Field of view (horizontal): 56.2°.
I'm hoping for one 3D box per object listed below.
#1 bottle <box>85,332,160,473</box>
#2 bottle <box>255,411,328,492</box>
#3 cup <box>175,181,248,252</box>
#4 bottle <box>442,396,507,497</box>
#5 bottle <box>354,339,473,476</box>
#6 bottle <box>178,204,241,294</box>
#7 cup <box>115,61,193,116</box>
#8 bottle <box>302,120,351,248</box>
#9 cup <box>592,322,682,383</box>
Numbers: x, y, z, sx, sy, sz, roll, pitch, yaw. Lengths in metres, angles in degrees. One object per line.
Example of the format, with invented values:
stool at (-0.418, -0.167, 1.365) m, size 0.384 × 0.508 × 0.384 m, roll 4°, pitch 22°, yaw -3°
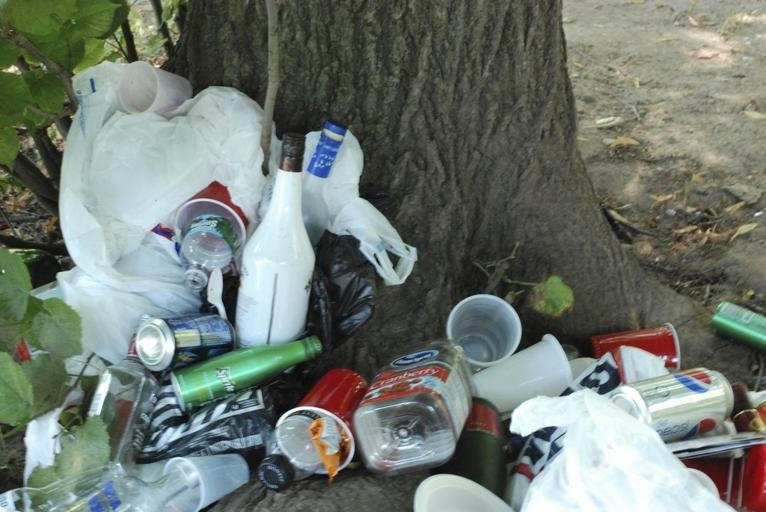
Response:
bottle at (-0.888, 0.519, 2.474) m, size 0.151 × 0.132 × 0.500 m, roll 3°, pitch 36°, yaw -3°
bottle at (-0.309, 0.665, 2.405) m, size 0.210 × 0.232 × 0.185 m, roll 0°, pitch 41°, yaw -6°
cup at (-0.691, -0.156, 2.752) m, size 0.286 × 0.265 × 0.229 m, roll 20°, pitch 73°, yaw -44°
bottle at (0.312, 0.679, 2.512) m, size 0.208 × 0.207 × 0.303 m, roll 36°, pitch 50°, yaw -15°
bottle at (0.114, 0.547, 2.500) m, size 0.234 × 0.251 × 0.435 m, roll 55°, pitch 16°, yaw -2°
bottle at (-0.602, -0.036, 2.589) m, size 0.318 × 0.285 × 0.229 m, roll 7°, pitch 18°, yaw 1°
cup at (-0.860, -0.618, 2.703) m, size 0.230 × 0.212 × 0.197 m, roll -7°, pitch 72°, yaw -62°
bottle at (-0.206, -0.264, 2.670) m, size 0.144 × 0.533 × 0.123 m, roll -24°, pitch 66°, yaw -40°
cup at (1.076, 0.425, 3.101) m, size 0.360 × 0.246 × 0.240 m, roll -5°, pitch 53°, yaw -12°
